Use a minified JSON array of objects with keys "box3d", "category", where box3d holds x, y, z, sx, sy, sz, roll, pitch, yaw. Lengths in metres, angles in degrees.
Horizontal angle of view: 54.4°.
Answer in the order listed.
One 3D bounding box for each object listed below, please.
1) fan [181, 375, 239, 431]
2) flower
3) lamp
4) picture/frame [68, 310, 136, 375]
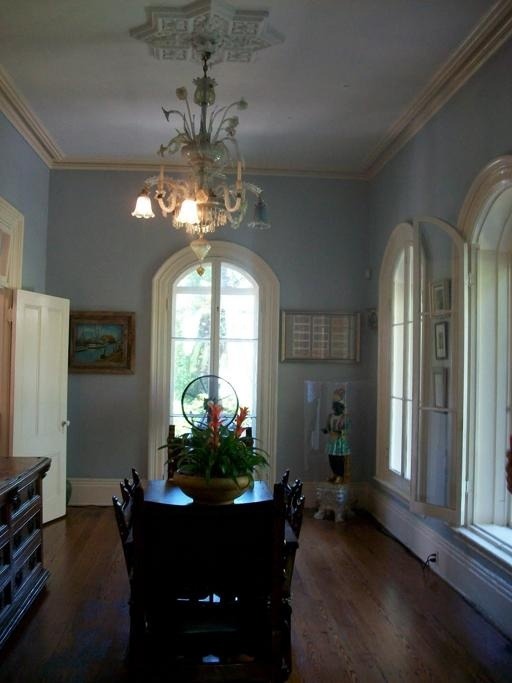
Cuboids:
[{"box3d":[-0.410,0.484,4.386,0.462,0.149,0.543,3,-43,-18],"category":"fan"},{"box3d":[-0.138,0.427,1.851,0.295,0.358,0.373,9,-3,-41],"category":"flower"},{"box3d":[-0.310,-1.021,2.775,0.616,1.207,0.683,3,6,7],"category":"lamp"},{"box3d":[-1.502,0.037,4.827,0.490,0.618,0.040,0,-1,2],"category":"picture/frame"}]
